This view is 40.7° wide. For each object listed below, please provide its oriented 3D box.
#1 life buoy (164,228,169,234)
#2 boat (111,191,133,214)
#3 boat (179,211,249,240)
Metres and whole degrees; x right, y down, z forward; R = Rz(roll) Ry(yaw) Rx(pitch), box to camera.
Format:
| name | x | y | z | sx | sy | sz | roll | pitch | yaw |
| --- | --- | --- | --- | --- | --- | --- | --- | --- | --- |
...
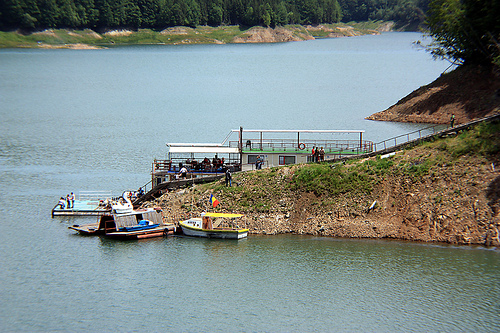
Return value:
| name | x | y | z | sx | sy | sz | roll | pitch | yaw |
| --- | --- | --- | --- | --- | --- | --- | --- | --- | --- |
| life buoy | -15.381 | 11.723 | 123.478 | 0.807 | 0.994 | 0.198 | 0 | 1 | -8 |
| boat | -23.532 | 6.953 | 124.655 | 4.881 | 4.785 | 2.835 | 3 | -19 | -6 |
| boat | -7.160 | 10.885 | 123.926 | 12.427 | 4.334 | 5.167 | 1 | -1 | 16 |
